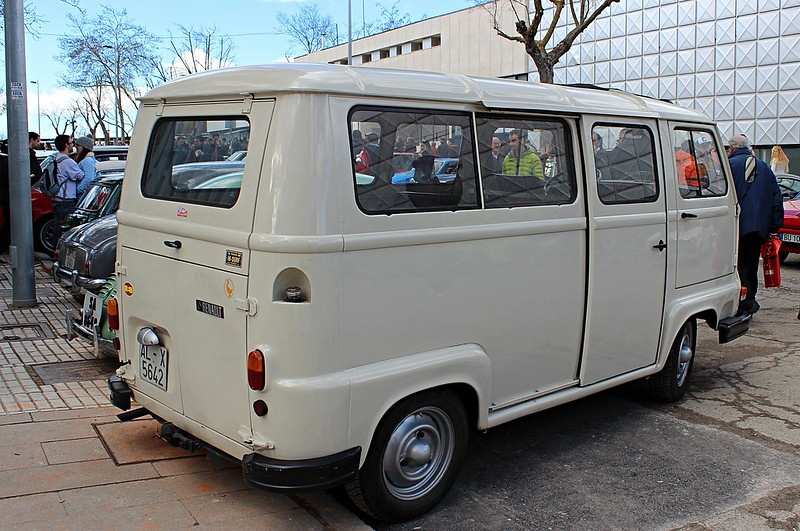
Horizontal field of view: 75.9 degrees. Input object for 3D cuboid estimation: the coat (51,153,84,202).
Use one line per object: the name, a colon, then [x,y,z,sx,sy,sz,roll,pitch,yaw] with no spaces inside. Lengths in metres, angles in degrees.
coat: [-6.801,-1.788,10.504,0.619,1.002,0.822,-14,26,-39]

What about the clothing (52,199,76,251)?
clothing: [-7.089,-0.886,10.862,0.289,0.992,0.427,-10,19,-22]

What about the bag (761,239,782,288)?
bag: [5.955,-0.039,8.155,0.124,0.817,0.385,6,-9,-9]

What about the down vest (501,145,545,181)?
down vest: [0.950,-0.842,4.020,0.260,0.228,0.143,15,37,17]

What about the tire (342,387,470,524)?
tire: [0.010,1.294,3.491,0.973,1.022,0.342,-3,11,-45]

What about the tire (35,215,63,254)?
tire: [-8.264,-0.734,12.330,0.789,0.844,0.289,-12,-9,13]

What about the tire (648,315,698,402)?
tire: [2.846,0.974,5.373,0.265,0.793,0.766,8,24,35]

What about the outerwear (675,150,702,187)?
outerwear: [3.045,-0.992,5.449,0.281,0.520,0.121,-10,9,-23]

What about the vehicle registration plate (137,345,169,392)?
vehicle registration plate: [-1.864,0.770,3.894,0.421,0.336,0.036,3,3,38]
